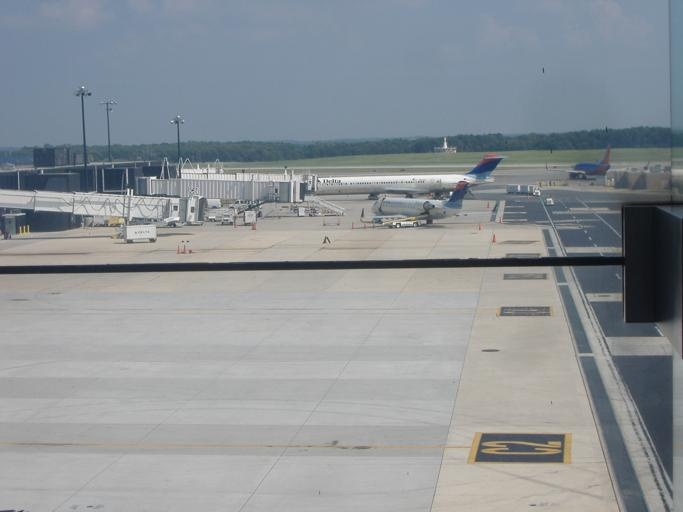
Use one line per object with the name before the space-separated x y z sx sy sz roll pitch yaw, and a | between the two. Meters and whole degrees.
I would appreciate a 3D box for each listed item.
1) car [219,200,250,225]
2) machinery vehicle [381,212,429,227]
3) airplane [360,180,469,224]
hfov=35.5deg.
car | -6.569 -2.572 64.792 1.229 1.028 3.262 -2 7 3
machinery vehicle | 3.449 -2.008 59.689 2.553 0.618 2.784 -1 11 3
airplane | 4.250 -3.101 60.327 4.983 2.240 2.180 5 14 32
